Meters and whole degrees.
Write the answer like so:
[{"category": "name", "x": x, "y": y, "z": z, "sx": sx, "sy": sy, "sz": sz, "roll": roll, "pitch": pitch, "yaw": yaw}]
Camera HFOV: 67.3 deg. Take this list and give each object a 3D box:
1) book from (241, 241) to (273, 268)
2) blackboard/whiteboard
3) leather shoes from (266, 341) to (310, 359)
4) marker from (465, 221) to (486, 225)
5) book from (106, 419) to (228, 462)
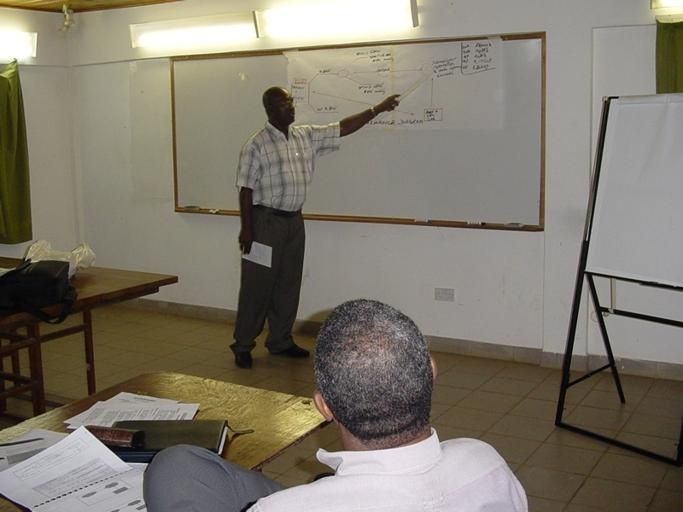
[{"category": "book", "x": -0.645, "y": -0.014, "z": 4.036, "sx": 0.192, "sy": 0.139, "sz": 0.012, "roll": 19, "pitch": 31, "yaw": 20}, {"category": "blackboard/whiteboard", "x": -0.057, "y": -1.106, "z": 4.626, "sx": 3.475, "sy": 1.594, "sz": 0.121, "roll": 4, "pitch": 6, "yaw": 21}, {"category": "leather shoes", "x": -0.442, "y": 0.815, "z": 4.463, "sx": 0.365, "sy": 0.158, "sz": 0.136, "roll": -2, "pitch": 1, "yaw": 8}, {"category": "marker", "x": 1.104, "y": -0.264, "z": 4.225, "sx": 0.143, "sy": 0.029, "sz": 0.019, "roll": 2, "pitch": 11, "yaw": 17}, {"category": "book", "x": -0.456, "y": 0.508, "z": 1.454, "sx": 0.175, "sy": 0.042, "sz": 0.178, "roll": 2, "pitch": 1, "yaw": -5}]
